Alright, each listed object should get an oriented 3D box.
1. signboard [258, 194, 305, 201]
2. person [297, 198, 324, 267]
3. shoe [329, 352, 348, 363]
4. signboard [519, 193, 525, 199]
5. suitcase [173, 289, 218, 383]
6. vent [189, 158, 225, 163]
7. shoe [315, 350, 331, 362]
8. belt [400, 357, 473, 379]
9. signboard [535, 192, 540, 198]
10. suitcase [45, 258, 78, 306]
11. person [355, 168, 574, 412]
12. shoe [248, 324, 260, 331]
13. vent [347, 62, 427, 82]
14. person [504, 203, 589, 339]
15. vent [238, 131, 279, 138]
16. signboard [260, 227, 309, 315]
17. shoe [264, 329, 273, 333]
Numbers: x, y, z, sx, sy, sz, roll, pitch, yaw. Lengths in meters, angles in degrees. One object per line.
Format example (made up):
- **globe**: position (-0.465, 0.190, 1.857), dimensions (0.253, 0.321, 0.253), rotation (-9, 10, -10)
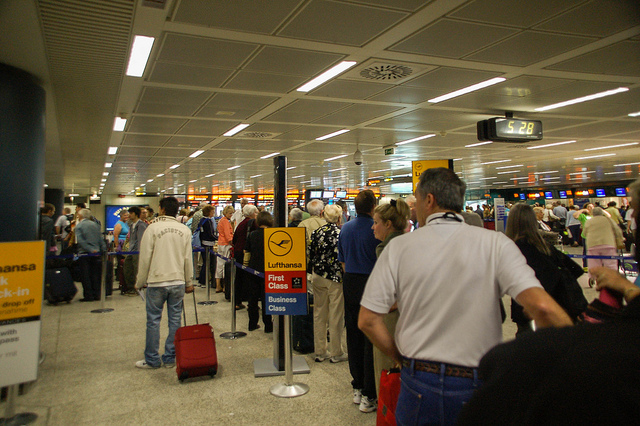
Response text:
- **signboard**: position (-2.972, -1.083, 29.230), dimensions (3.109, 0.465, 0.987), rotation (0, 8, 20)
- **person**: position (-0.138, 0.334, 6.474), dimensions (0.461, 1.148, 0.386), rotation (3, 28, -1)
- **shoe**: position (0.246, 1.956, 5.877), dimensions (0.287, 0.121, 0.102), rotation (-10, 6, -18)
- **signboard**: position (14.966, -1.199, 31.048), dimensions (0.484, 0.634, 0.066), rotation (-1, -41, 20)
- **suitcase**: position (-1.672, 1.764, 5.513), dimensions (0.508, 0.576, 0.641), rotation (-5, 7, -21)
- **vent**: position (-3.933, -1.728, 14.152), dimensions (0.987, 0.167, 0.898), rotation (-6, 8, -25)
- **shoe**: position (0.022, 1.953, 5.895), dimensions (0.087, 0.102, 0.239), rotation (0, 1, 38)
- **belt**: position (0.800, 1.041, 2.894), dimensions (0.467, 0.085, 0.062), rotation (0, 7, 20)
- **signboard**: position (15.465, -1.267, 29.861), dimensions (0.117, 0.400, 0.426), rotation (-3, 7, -9)
- **suitcase**: position (-5.341, 1.329, 8.493), dimensions (0.567, 0.854, 0.597), rotation (-21, -12, 39)
- **person**: position (0.989, 1.160, 3.344), dimensions (1.452, 2.901, 1.023), rotation (2, 3, 2)
- **shoe**: position (-1.133, 1.899, 7.134), dimensions (0.077, 0.074, 0.267), rotation (2, 9, 33)
- **vent**: position (1.020, -2.159, 6.631), dimensions (1.024, 0.165, 0.640), rotation (-5, 8, -17)
- **person**: position (2.533, 0.799, 4.601), dimensions (0.750, 1.724, 0.628), rotation (-10, 3, 25)
- **vent**: position (-1.611, -1.893, 10.473), dimensions (0.896, 0.108, 0.543), rotation (-4, 7, -11)
- **signboard**: position (-0.434, 0.697, 5.001), dimensions (0.521, 1.059, 0.254), rotation (-3, 6, -5)
- **shoe**: position (-0.894, 1.889, 6.958), dimensions (0.136, 0.057, 0.073), rotation (-2, 7, 1)
